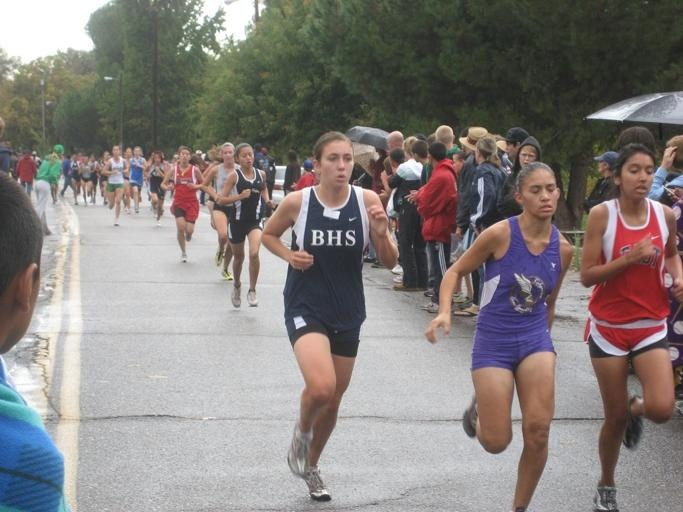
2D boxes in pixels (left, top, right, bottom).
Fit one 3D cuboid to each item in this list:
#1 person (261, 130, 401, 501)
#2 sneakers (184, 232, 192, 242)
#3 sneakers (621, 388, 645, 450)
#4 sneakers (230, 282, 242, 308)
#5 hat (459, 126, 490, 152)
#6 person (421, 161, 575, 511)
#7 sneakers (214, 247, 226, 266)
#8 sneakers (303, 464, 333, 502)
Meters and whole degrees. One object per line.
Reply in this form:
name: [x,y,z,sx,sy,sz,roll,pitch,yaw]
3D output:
person: [-0.129,0.321,4.806,0.634,2.177,0.751,4,8,39]
sneakers: [-2.985,-0.385,15.051,0.112,0.115,0.354,-2,39,-8]
sneakers: [1.795,1.037,4.792,0.136,0.427,0.190,0,1,4]
sneakers: [-1.408,0.520,10.224,0.127,0.366,0.205,-3,-8,-22]
hat: [1.657,-1.545,10.155,0.403,0.142,0.378,39,36,17]
person: [0.900,0.404,4.465,0.692,1.859,0.764,2,7,24]
sneakers: [-2.129,0.012,13.586,0.105,0.315,0.141,25,4,-1]
sneakers: [-0.144,1.350,4.634,0.163,0.175,0.160,0,6,1]
